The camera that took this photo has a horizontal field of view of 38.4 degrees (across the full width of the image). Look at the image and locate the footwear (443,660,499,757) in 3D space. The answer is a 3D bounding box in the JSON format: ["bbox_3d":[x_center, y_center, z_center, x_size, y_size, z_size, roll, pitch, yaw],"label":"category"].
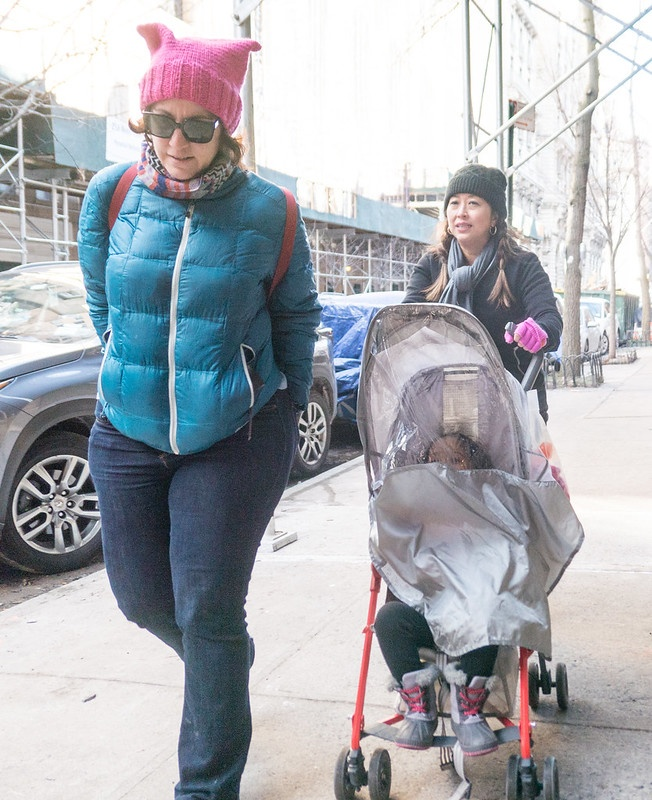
[{"bbox_3d":[0.373,0.780,2.357,0.130,0.243,0.151,0,5,9],"label":"footwear"}]

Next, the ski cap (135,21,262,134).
[{"bbox_3d":[-0.312,-0.793,2.329,0.280,0.207,0.275,12,13,0],"label":"ski cap"}]

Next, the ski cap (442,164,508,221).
[{"bbox_3d":[0.536,-0.732,3.290,0.201,0.152,0.208,9,11,12],"label":"ski cap"}]

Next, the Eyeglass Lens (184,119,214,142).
[{"bbox_3d":[-0.302,-0.624,2.204,0.059,0.025,0.060,0,3,-8],"label":"Eyeglass Lens"}]

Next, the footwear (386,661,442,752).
[{"bbox_3d":[0.242,0.784,2.443,0.113,0.197,0.210,-1,5,5],"label":"footwear"}]

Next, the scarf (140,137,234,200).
[{"bbox_3d":[-0.354,-0.560,2.249,0.243,0.162,0.121,0,5,10],"label":"scarf"}]

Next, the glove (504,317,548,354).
[{"bbox_3d":[0.588,-0.196,2.765,0.130,0.093,0.061,29,19,-8],"label":"glove"}]

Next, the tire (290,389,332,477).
[{"bbox_3d":[-0.079,0.277,7.797,0.192,0.540,0.560,-8,5,-40],"label":"tire"}]

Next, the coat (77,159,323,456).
[{"bbox_3d":[-0.296,-0.239,2.344,0.618,0.720,0.383,-3,6,-15],"label":"coat"}]
